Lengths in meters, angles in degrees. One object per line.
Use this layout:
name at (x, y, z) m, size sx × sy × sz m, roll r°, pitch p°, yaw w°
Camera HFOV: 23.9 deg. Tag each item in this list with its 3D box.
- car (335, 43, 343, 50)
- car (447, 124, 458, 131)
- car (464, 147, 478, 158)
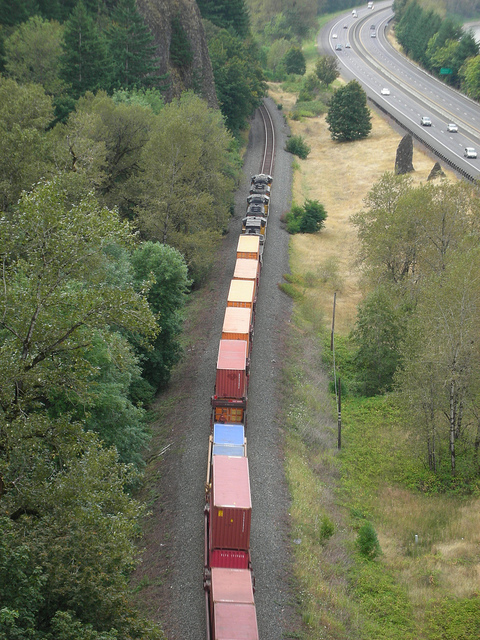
car at (18.862, -52.568, 220.998) m, size 1.258 × 1.355 × 2.430 m, roll 3°, pitch 31°, yaw 2°
car at (27.909, -25.387, 152.076) m, size 0.761 × 0.710 × 1.918 m, roll 0°, pitch 26°, yaw 5°
car at (27.677, -20.300, 138.756) m, size 0.868 × 1.057 × 2.093 m, roll 0°, pitch 24°, yaw 6°
